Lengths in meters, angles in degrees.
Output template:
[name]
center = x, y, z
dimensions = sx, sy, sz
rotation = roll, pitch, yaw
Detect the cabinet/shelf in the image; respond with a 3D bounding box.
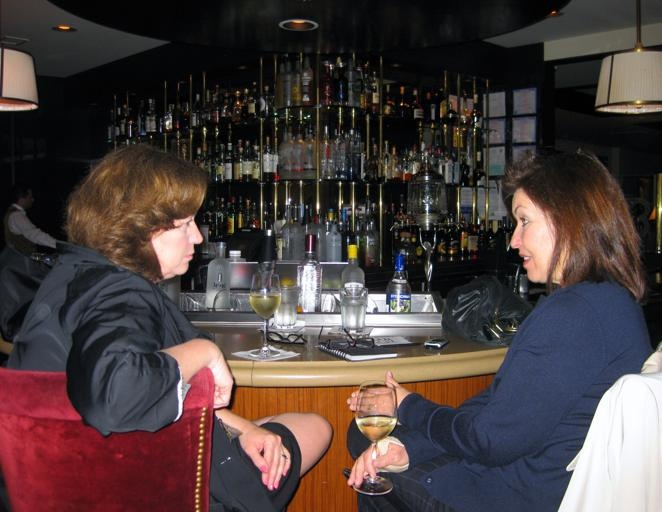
[cabinet/shelf]
center = -0.057, -0.982, 5.601
dimensions = 2.445, 0.955, 1.896
rotation = 1, 2, 13

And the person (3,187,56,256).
[person]
center = -3.435, -0.401, 7.094
dimensions = 0.413, 0.720, 0.746
rotation = -5, 13, -38
